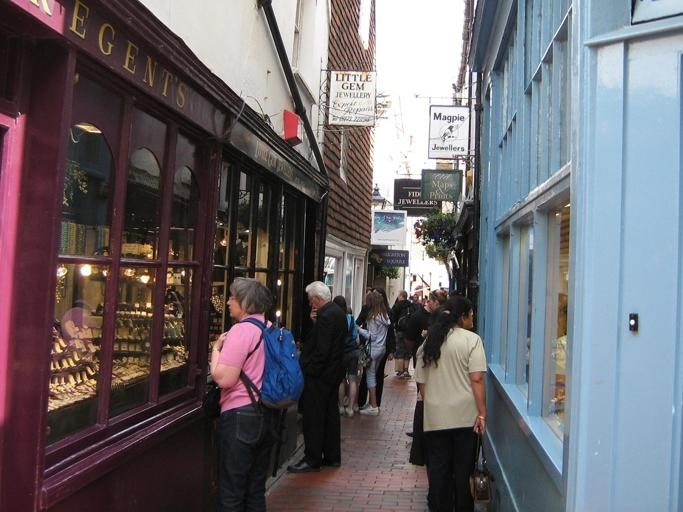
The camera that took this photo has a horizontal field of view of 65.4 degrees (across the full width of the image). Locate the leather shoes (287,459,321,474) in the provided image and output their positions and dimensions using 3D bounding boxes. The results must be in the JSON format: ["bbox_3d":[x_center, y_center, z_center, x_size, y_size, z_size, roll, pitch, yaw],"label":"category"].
[{"bbox_3d":[-0.430,2.397,6.120,0.362,0.181,0.152,3,-9,-2],"label":"leather shoes"}]

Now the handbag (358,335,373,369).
[{"bbox_3d":[0.387,1.583,8.640,0.189,0.502,0.426,2,-3,4],"label":"handbag"}]
